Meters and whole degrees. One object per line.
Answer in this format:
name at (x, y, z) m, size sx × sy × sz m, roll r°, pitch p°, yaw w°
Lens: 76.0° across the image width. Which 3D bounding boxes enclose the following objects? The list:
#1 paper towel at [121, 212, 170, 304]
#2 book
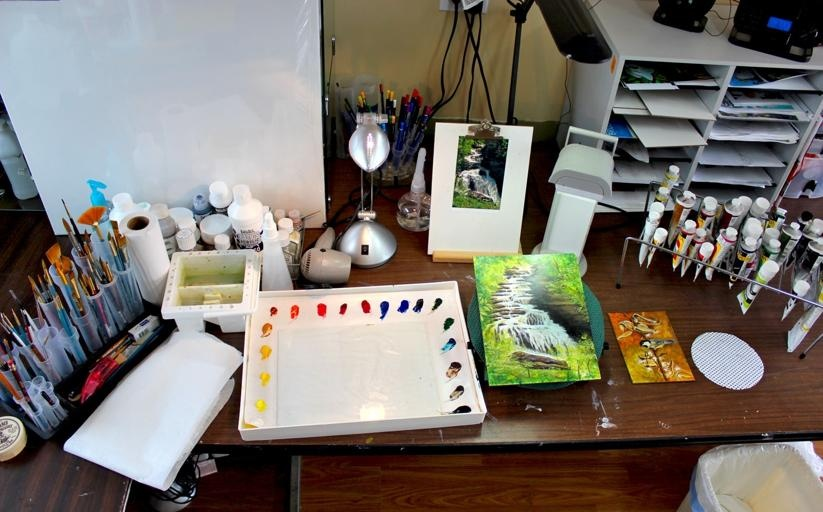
paper towel at (-0.747, 0.010, 1.471) m, size 0.105 × 0.276 × 0.101 m, roll 1°, pitch 45°, yaw -4°
book at (1.197, -0.529, 1.767) m, size 0.240 × 0.085 × 0.225 m, roll 18°, pitch 44°, yaw 23°
